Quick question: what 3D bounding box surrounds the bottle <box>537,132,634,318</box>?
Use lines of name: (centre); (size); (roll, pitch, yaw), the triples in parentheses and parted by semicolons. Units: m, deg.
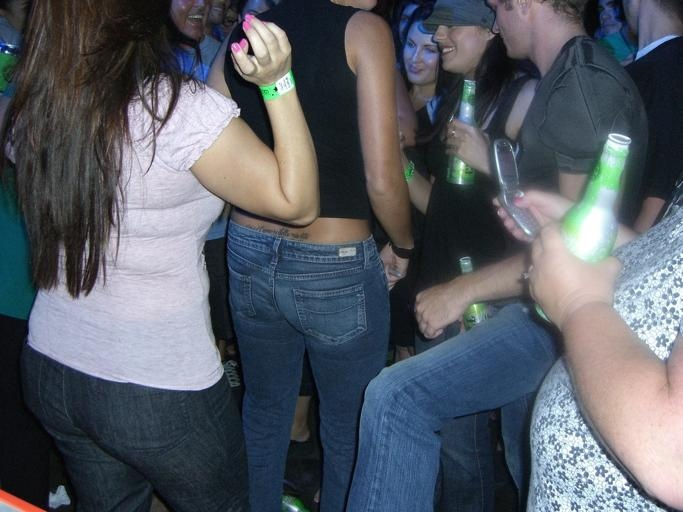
bottle: (0.621, -0.125, 1.462); (0.132, 0.300, 0.308); (16, 40, 24)

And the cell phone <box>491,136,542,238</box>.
cell phone: (0.547, -0.226, 1.894); (0.100, 0.369, 0.087); (-15, -5, -26)
